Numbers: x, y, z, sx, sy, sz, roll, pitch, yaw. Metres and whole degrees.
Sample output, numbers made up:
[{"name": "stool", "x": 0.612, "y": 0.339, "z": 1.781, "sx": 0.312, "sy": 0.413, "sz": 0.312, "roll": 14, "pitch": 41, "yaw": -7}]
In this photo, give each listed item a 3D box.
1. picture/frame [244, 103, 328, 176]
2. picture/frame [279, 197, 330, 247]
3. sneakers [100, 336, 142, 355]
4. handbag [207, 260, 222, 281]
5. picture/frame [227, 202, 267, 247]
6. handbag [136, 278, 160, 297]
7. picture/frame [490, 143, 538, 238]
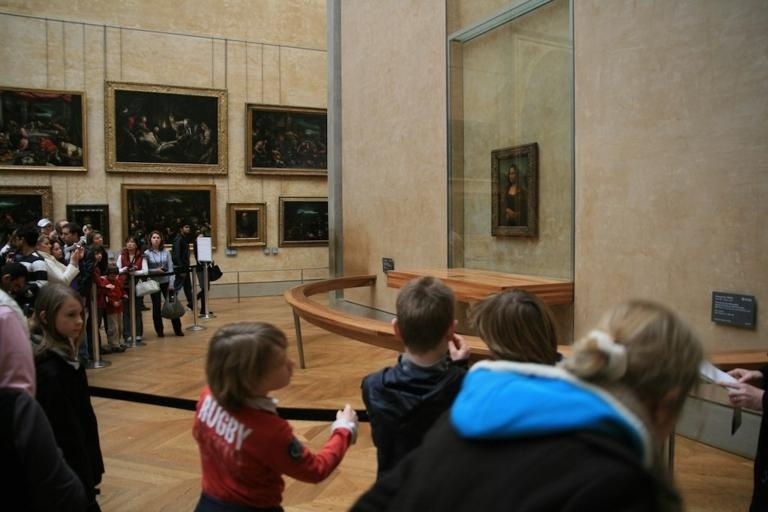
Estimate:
[{"name": "picture/frame", "x": -2.620, "y": -3.153, "z": 15.192, "sx": 2.199, "sy": 1.837, "sz": 0.264, "roll": -3, "pitch": 4, "yaw": -20}, {"name": "picture/frame", "x": -2.265, "y": -1.015, "z": 15.473, "sx": 1.487, "sy": 1.060, "sz": 0.063, "roll": -1, "pitch": 2, "yaw": -32}, {"name": "sneakers", "x": -4.342, "y": 1.460, "z": 9.321, "sx": 0.657, "sy": 0.257, "sz": 0.202, "roll": -6, "pitch": 10, "yaw": -30}, {"name": "handbag", "x": -3.433, "y": 0.278, "z": 11.756, "sx": 0.429, "sy": 0.425, "sz": 0.380, "roll": -3, "pitch": 9, "yaw": -23}, {"name": "picture/frame", "x": -3.682, "y": -0.893, "z": 14.910, "sx": 1.155, "sy": 1.254, "sz": 0.169, "roll": -2, "pitch": 4, "yaw": -30}, {"name": "handbag", "x": -4.094, "y": 0.516, "z": 9.734, "sx": 0.327, "sy": 0.277, "sz": 0.148, "roll": -3, "pitch": -25, "yaw": -38}, {"name": "picture/frame", "x": 1.771, "y": -0.888, "z": 7.655, "sx": 0.134, "sy": 1.244, "sz": 0.936, "roll": -3, "pitch": 4, "yaw": -25}]
